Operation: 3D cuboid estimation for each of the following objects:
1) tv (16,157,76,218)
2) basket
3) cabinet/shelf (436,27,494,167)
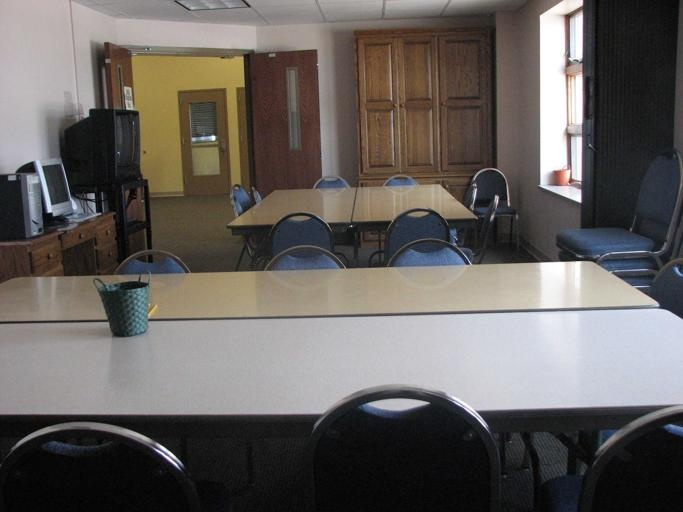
[{"bbox_3d":[-2.432,-0.555,4.501,0.258,0.523,0.505,-1,18,-1],"label":"tv"},{"bbox_3d":[-0.731,0.166,1.972,0.232,0.265,0.218,-3,2,-4],"label":"basket"},{"bbox_3d":[1.536,-1.923,6.922,0.658,1.701,0.231,1,14,10],"label":"cabinet/shelf"}]
